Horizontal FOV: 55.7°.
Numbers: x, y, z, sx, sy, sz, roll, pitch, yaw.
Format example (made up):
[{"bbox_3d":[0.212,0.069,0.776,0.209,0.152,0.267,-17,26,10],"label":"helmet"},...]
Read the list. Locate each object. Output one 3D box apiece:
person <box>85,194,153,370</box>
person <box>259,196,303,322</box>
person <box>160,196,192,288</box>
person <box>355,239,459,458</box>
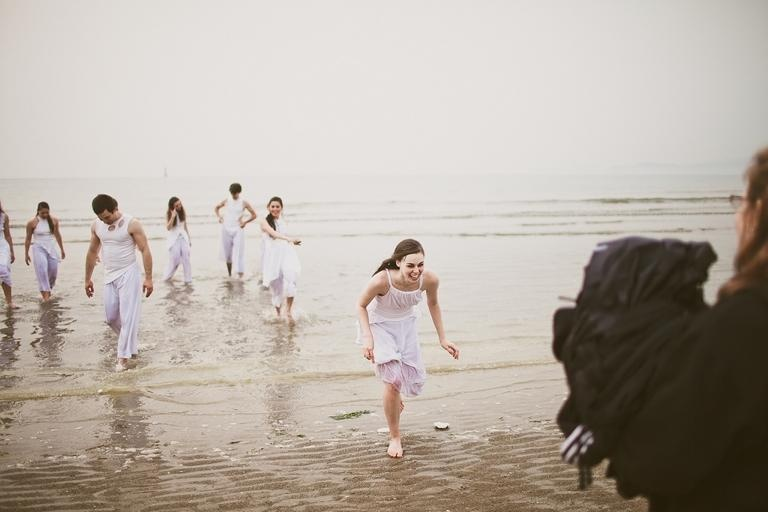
[{"bbox_3d":[-4.506,0.438,12.213,1.104,2.912,0.649,-1,12,-3],"label":"person"},{"bbox_3d":[-2.130,0.080,14.667,0.744,2.477,1.288,-3,12,-9],"label":"person"},{"bbox_3d":[-5.234,-0.412,17.999,0.636,2.060,1.445,-4,12,-17],"label":"person"},{"bbox_3d":[0.242,1.220,10.255,1.179,2.884,0.815,-5,12,-19],"label":"person"}]
